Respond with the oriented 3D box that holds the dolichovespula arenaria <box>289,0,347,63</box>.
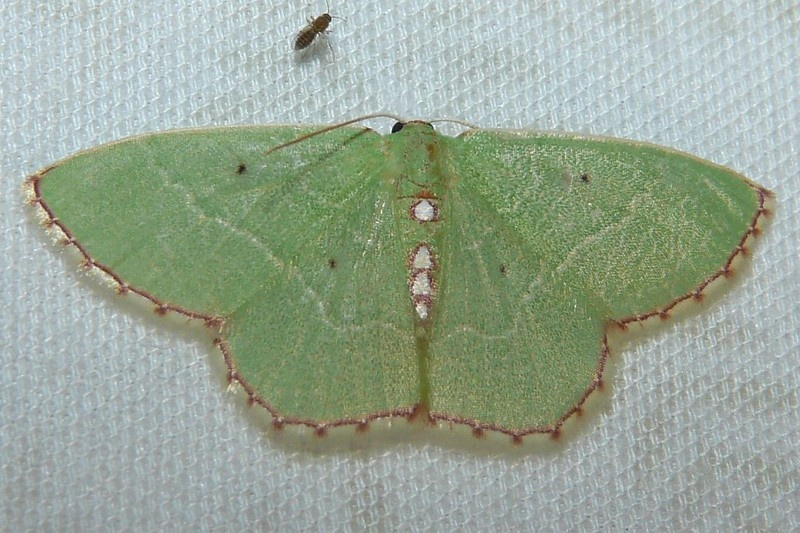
[{"bbox_3d":[-0.285,-0.764,3.347,0.134,0.044,0.158,41,88,3],"label":"dolichovespula arenaria"}]
